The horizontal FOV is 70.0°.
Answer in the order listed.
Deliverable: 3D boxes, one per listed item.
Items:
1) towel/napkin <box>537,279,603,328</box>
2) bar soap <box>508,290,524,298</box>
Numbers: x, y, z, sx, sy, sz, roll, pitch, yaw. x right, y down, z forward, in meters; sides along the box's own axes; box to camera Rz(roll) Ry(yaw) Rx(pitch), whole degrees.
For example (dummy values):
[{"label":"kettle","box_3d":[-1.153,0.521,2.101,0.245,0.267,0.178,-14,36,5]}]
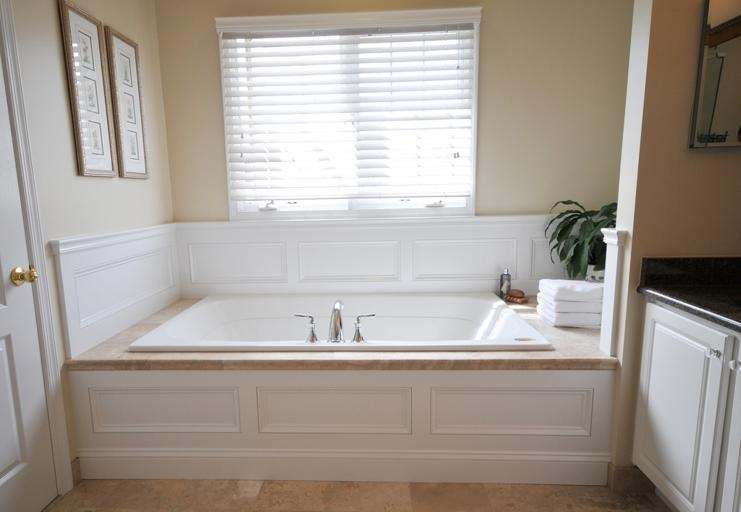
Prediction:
[{"label":"towel/napkin","box_3d":[1.201,0.283,3.199,0.296,0.200,0.312,1,5,3]},{"label":"bar soap","box_3d":[0.996,0.256,3.606,0.071,0.037,0.055,0,7,31]}]
